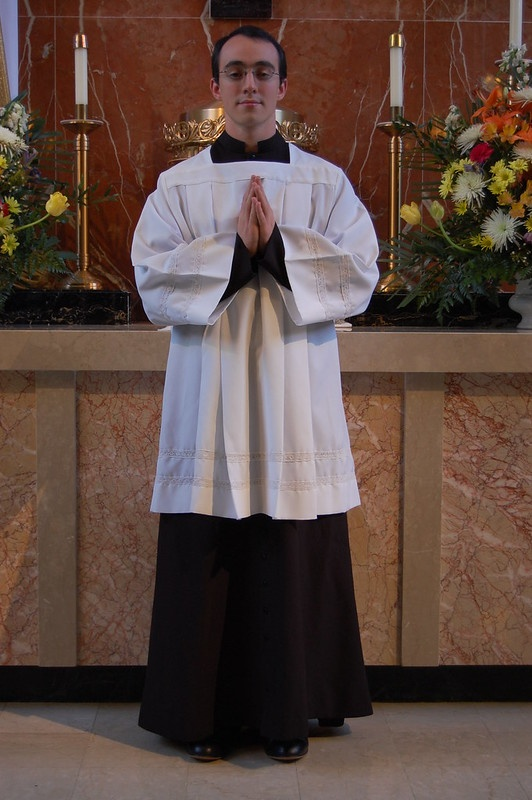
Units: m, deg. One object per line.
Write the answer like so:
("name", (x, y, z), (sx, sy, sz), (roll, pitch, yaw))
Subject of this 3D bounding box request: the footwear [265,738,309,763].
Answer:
("footwear", (0.048, 0.814, 1.849), (0.047, 0.033, 0.083), (1, -16, -6))

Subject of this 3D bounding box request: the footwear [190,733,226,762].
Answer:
("footwear", (-0.141, 0.818, 1.864), (0.079, 0.032, 0.084), (0, -10, 2))

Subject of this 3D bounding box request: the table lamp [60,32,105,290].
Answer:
("table lamp", (-0.650, -0.821, 2.805), (0.210, 0.902, 0.179), (-2, 4, -25))

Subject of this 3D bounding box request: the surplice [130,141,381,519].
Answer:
("surplice", (-0.023, -0.163, 1.828), (0.558, 0.878, 0.269), (0, 2, -9))
